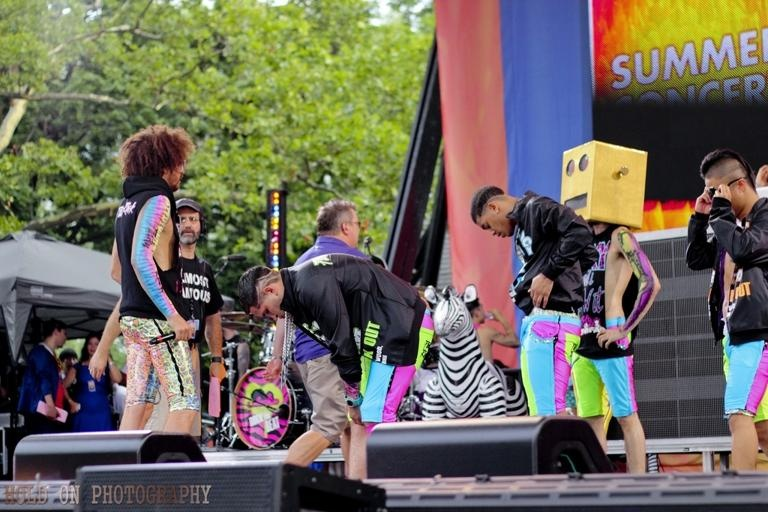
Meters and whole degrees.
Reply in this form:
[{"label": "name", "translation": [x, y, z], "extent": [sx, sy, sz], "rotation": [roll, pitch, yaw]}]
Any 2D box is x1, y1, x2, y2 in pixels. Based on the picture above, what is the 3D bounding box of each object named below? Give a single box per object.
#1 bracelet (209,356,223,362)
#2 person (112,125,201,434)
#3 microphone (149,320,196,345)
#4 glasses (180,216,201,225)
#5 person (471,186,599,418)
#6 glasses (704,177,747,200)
[{"label": "bracelet", "translation": [-1.527, 0.939, 10.535], "extent": [0.075, 0.049, 0.082], "rotation": [-1, -7, 1]}, {"label": "person", "translation": [-1.960, 0.160, 9.771], "extent": [0.769, 2.606, 0.527], "rotation": [-1, -4, 9]}, {"label": "microphone", "translation": [-1.790, 0.631, 9.690], "extent": [0.353, 0.073, 0.098], "rotation": [-20, 9, 9]}, {"label": "glasses", "translation": [-1.909, -0.362, 11.429], "extent": [0.113, 0.046, 0.128], "rotation": [-1, -9, -2]}, {"label": "person", "translation": [1.393, 0.445, 10.310], "extent": [1.284, 2.972, 1.128], "rotation": [0, -25, 6]}, {"label": "glasses", "translation": [2.836, -0.557, 9.436], "extent": [0.228, 0.075, 0.217], "rotation": [-6, -8, -22]}]
